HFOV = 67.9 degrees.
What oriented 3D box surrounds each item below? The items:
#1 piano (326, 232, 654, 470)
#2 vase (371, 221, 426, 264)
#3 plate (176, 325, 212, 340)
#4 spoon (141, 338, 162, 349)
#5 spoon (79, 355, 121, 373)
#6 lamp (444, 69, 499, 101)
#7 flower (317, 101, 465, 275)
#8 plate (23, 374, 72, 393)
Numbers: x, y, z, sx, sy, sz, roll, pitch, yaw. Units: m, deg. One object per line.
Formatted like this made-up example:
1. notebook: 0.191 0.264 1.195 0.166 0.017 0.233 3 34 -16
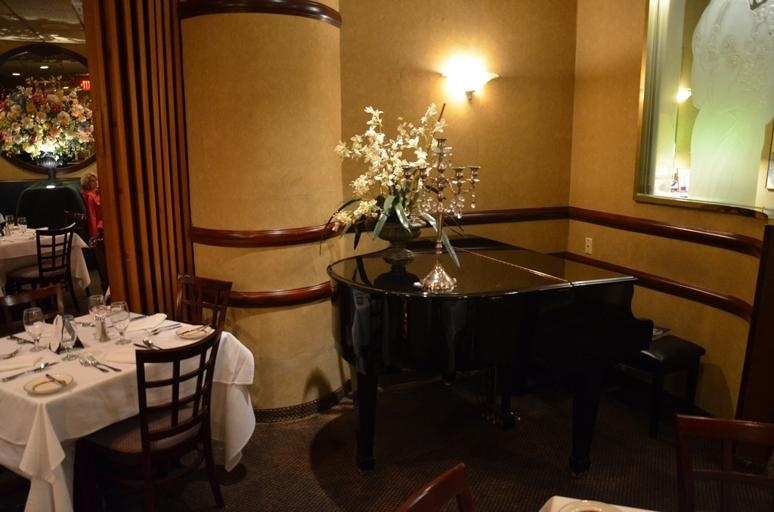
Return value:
1. piano: 0.687 0.615 4.414 1.952 1.327 1.652 -7 14 -25
2. vase: 0.096 -0.113 4.684 0.405 0.365 0.444 1 5 -3
3. plate: -1.439 0.574 4.331 0.137 0.029 0.173 4 7 24
4. spoon: -1.708 0.627 4.159 0.188 0.045 0.085 10 17 39
5. spoon: -1.980 0.741 3.956 0.369 0.055 0.115 10 13 23
6. lamp: 0.817 -1.772 5.788 0.362 0.185 0.355 -2 1 -4
7. flower: 0.056 -0.426 4.751 1.137 1.044 1.002 -1 -17 9
8. plate: -2.192 0.836 3.731 0.264 0.064 0.195 1 14 9
